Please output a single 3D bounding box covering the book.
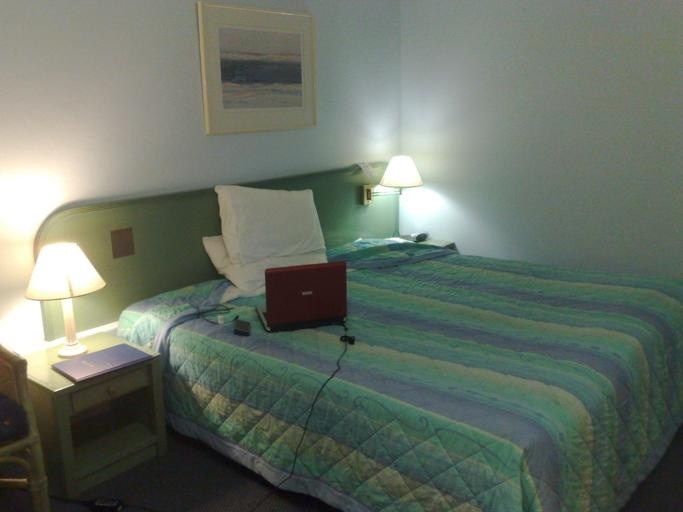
[{"bbox_3d":[-1.208,0.539,2.578,0.189,0.031,0.271,14,18,39],"label":"book"}]

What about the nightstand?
[{"bbox_3d":[-1.291,0.869,2.815,0.717,0.759,0.675,8,17,34],"label":"nightstand"}]

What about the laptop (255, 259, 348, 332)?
[{"bbox_3d":[-0.178,0.217,2.660,0.413,0.373,0.356,-3,22,-12],"label":"laptop"}]

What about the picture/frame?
[{"bbox_3d":[-0.627,-1.335,3.541,0.041,0.785,1.005,9,15,39],"label":"picture/frame"}]

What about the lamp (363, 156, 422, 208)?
[{"bbox_3d":[0.454,-0.668,4.591,0.583,0.488,0.385,4,20,22],"label":"lamp"}]

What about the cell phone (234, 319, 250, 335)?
[{"bbox_3d":[-0.521,0.373,2.629,0.068,0.018,0.074,5,26,-1],"label":"cell phone"}]

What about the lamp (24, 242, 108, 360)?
[{"bbox_3d":[-1.470,0.237,2.692,0.374,0.632,0.372,-7,14,-27],"label":"lamp"}]
